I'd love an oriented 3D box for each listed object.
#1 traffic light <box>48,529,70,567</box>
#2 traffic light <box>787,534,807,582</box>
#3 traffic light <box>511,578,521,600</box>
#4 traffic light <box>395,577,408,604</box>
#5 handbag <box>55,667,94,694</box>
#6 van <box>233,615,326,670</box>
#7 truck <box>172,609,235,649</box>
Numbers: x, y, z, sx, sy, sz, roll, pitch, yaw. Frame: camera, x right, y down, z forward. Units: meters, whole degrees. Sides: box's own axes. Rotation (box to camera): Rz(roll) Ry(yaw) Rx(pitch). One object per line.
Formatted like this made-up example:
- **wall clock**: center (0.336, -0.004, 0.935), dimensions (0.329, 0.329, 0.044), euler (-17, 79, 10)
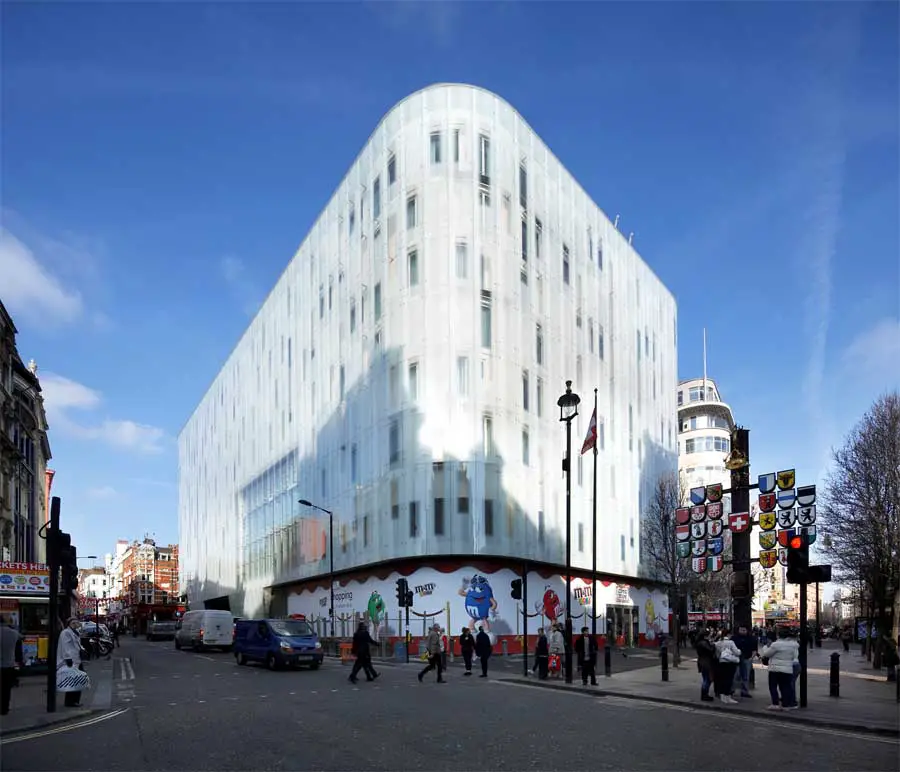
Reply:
- **traffic light**: center (-9.743, 4.096, 25.209), dimensions (0.494, 0.973, 1.282), euler (5, -19, -19)
- **traffic light**: center (8.864, 4.377, 25.993), dimensions (0.557, 1.333, 0.778), euler (-6, -17, 20)
- **traffic light**: center (2.328, 6.948, 35.115), dimensions (0.318, 0.665, 1.021), euler (-2, -19, 4)
- **traffic light**: center (-1.924, 8.317, 41.165), dimensions (0.377, 1.056, 1.079), euler (-1, -17, 2)
- **handbag**: center (-9.282, 7.177, 24.986), dimensions (0.731, 0.605, 0.552), euler (6, -19, -21)
- **van**: center (-6.488, 9.425, 38.119), dimensions (1.707, 1.766, 3.743), euler (8, -23, -28)
- **truck**: center (-13.721, 13.465, 57.524), dimensions (2.775, 3.115, 6.250), euler (5, -12, -26)
